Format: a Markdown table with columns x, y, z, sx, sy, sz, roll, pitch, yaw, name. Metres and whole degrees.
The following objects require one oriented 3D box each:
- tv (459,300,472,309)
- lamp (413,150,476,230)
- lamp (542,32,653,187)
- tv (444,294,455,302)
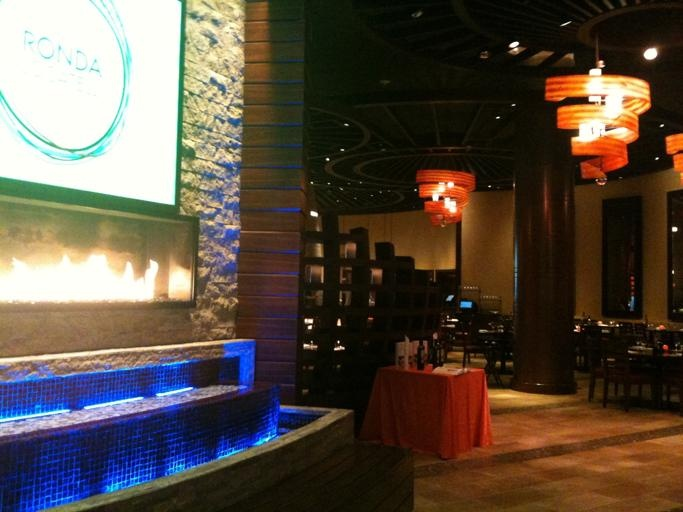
| x | y | z | sx | sy | sz | roll | pitch | yaw | name |
| --- | --- | --- | --- | --- | --- | --- | --- | --- | --- |
| 3.443 | 1.334 | 16.137 | 0.341 | 0.218 | 0.384 | 2 | -2 | 6 | tv |
| 2.298 | -1.559 | 13.105 | 1.395 | 1.386 | 1.326 | 2 | -1 | 12 | lamp |
| 3.165 | -1.838 | 7.287 | 1.317 | 1.582 | 1.122 | -1 | 1 | 2 | lamp |
| 3.316 | 1.315 | 18.176 | 0.235 | 0.059 | 0.237 | -1 | 22 | 21 | tv |
